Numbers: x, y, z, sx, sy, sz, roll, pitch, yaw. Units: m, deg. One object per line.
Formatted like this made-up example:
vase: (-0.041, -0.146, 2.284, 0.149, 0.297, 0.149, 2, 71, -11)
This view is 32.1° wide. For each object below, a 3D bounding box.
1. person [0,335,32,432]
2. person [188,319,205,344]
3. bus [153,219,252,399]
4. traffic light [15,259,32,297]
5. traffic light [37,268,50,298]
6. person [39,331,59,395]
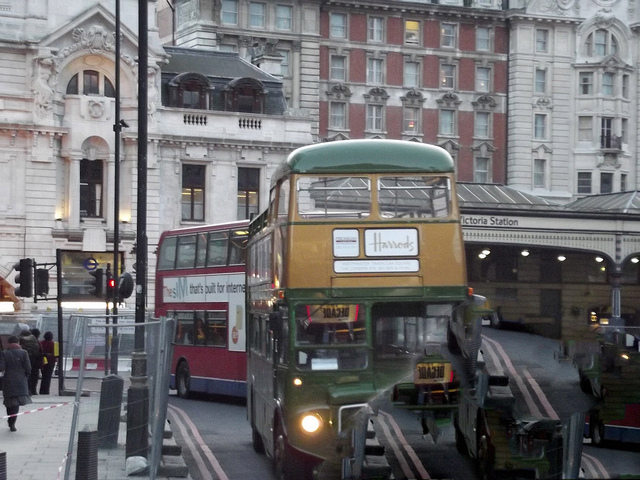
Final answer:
person: (-6.852, 3.150, 25.124, 0.615, 1.538, 0.872, 0, -2, -15)
person: (-3.546, 2.724, 33.012, 0.532, 0.681, 0.390, -6, -17, 44)
bus: (-3.398, 2.103, 32.744, 1.364, 5.156, 5.399, 0, -2, -22)
traffic light: (-7.614, 0.975, 28.675, 0.419, 0.965, 1.023, 0, -2, -16)
traffic light: (-7.535, 1.158, 30.315, 0.277, 0.728, 0.937, 0, -2, -15)
person: (-8.070, 3.656, 32.977, 0.430, 1.849, 0.996, 0, -1, -13)
